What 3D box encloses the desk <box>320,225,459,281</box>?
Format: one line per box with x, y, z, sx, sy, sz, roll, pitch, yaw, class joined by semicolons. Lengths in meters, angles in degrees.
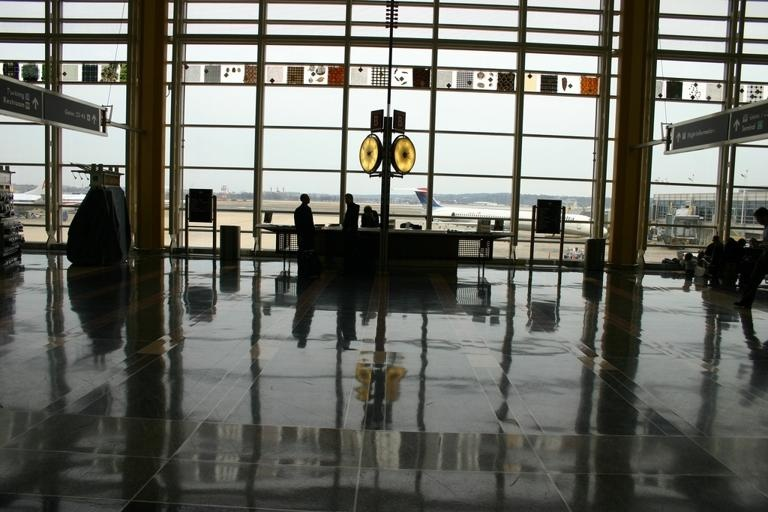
0.226;-0.452;18.887;3.755;1.129;1.110;-4;0;1;desk

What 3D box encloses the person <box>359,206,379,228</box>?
-0.399;-1.129;18.741;0.577;0.863;0.585;0;19;6;person

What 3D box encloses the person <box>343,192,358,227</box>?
-0.861;-1.162;17.346;0.343;0.902;0.473;2;3;-9;person

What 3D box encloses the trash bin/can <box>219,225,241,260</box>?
-4.641;-0.420;20.056;0.590;1.053;0.618;1;3;-17;trash bin/can

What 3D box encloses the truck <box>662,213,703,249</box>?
9.639;-0.875;21.708;1.137;1.044;0.589;2;8;1;truck

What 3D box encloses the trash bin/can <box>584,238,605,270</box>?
6.459;-0.057;20.490;0.588;0.985;0.330;3;3;13;trash bin/can

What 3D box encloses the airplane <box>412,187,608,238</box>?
3.705;-1.376;21.480;3.527;0.906;2.589;2;12;8;airplane

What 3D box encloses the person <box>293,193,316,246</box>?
-1.985;-0.854;16.647;0.435;1.379;0.446;1;3;-25;person

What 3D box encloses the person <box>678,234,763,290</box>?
9.490;0.182;18.855;1.602;1.060;2.582;1;9;9;person
